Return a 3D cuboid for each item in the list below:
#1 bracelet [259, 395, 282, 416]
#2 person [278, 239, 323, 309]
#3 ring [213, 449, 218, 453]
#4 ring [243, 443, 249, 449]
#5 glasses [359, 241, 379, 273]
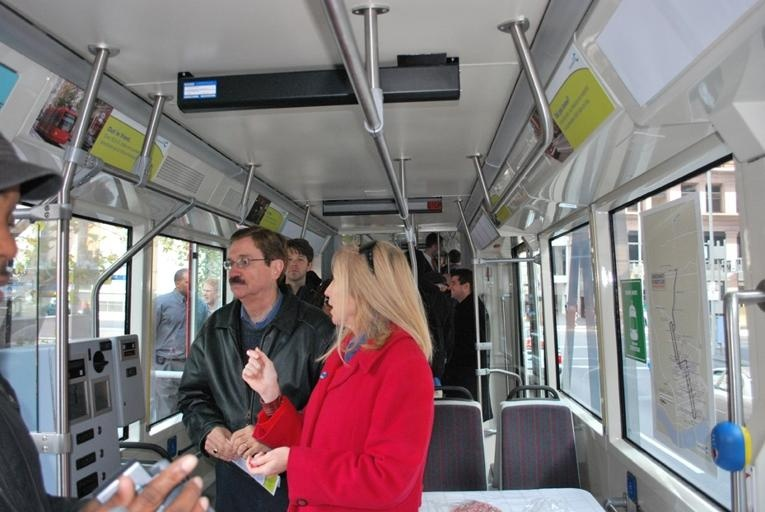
[{"bbox_3d":[-0.598,0.807,2.456,0.096,0.078,0.100,-14,19,23],"label":"bracelet"},{"bbox_3d":[-0.900,0.246,4.852,0.490,0.750,0.396,-2,-11,27],"label":"person"},{"bbox_3d":[-0.943,1.104,2.566,0.021,0.023,0.005,-1,-13,-6],"label":"ring"},{"bbox_3d":[-0.708,0.991,2.371,0.026,0.026,0.007,5,0,16],"label":"ring"},{"bbox_3d":[-0.069,0.009,2.166,0.086,0.140,0.126,-13,-19,-9],"label":"glasses"}]
